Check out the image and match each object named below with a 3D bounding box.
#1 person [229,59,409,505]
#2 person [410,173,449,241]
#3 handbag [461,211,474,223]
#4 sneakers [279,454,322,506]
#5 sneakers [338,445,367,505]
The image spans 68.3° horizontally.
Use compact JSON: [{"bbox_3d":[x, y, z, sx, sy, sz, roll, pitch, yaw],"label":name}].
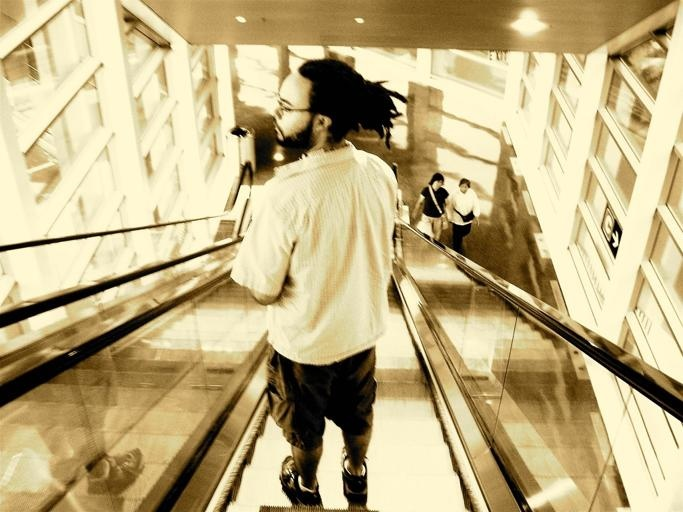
[{"bbox_3d":[-0.134,0.251,2.385,0.773,2.236,0.386,2,9,-14],"label":"person"},{"bbox_3d":[1.554,-0.865,8.781,0.536,1.111,0.758,6,8,11],"label":"person"},{"bbox_3d":[2.178,-0.672,8.778,0.182,0.139,0.184,-4,34,-3],"label":"handbag"},{"bbox_3d":[-0.224,1.230,2.678,0.130,0.361,0.163,-5,-30,-13],"label":"sneakers"},{"bbox_3d":[0.048,1.184,2.784,0.114,0.353,0.157,1,-25,-4],"label":"sneakers"}]
